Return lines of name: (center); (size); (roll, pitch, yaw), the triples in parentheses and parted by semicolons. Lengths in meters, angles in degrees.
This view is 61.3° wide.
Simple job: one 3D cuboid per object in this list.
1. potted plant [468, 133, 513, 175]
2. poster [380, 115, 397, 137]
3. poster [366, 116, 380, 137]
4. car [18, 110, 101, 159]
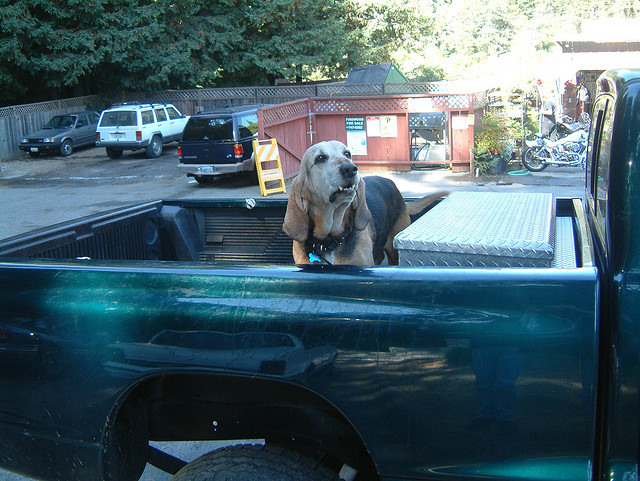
potted plant: (5.288, -2.661, 16.509); (1.170, 1.364, 1.384); (-7, 19, -23)
poster: (2.223, -3.718, 17.398); (0.660, 0.758, 0.108); (1, 9, 10)
poster: (1.739, -3.748, 17.581); (0.632, 0.858, 0.093); (1, 14, 14)
car: (-12.252, -5.146, 26.795); (2.321, 1.917, 4.970); (7, 18, 25)
